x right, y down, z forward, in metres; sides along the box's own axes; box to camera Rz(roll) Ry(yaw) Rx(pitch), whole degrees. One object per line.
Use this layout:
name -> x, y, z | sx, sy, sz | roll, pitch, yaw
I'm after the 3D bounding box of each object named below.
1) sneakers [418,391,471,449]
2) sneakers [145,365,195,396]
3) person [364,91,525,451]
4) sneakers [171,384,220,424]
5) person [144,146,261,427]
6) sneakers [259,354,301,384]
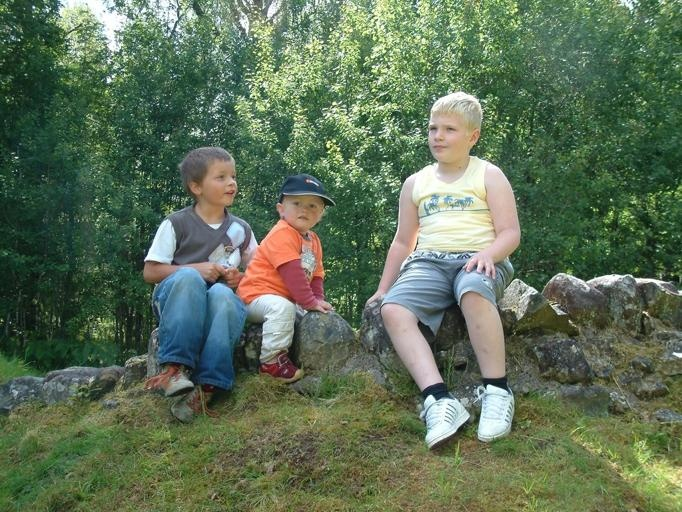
sneakers -> 0.679, 1.068, 3.811 | 0.310, 0.311, 0.237 | 0, -1, 11
sneakers -> -1.189, 0.872, 4.069 | 0.200, 0.145, 0.297 | 6, -18, -37
person -> 0.782, -0.025, 4.190 | 0.943, 2.441, 0.933 | 0, -1, 18
sneakers -> -1.012, 1.014, 4.173 | 0.161, 0.156, 0.384 | -33, 8, 31
person -> -1.064, 0.130, 4.409 | 0.789, 2.037, 0.855 | 0, -1, -11
sneakers -> -0.443, 0.840, 4.340 | 0.268, 0.206, 0.183 | 3, 4, 8
